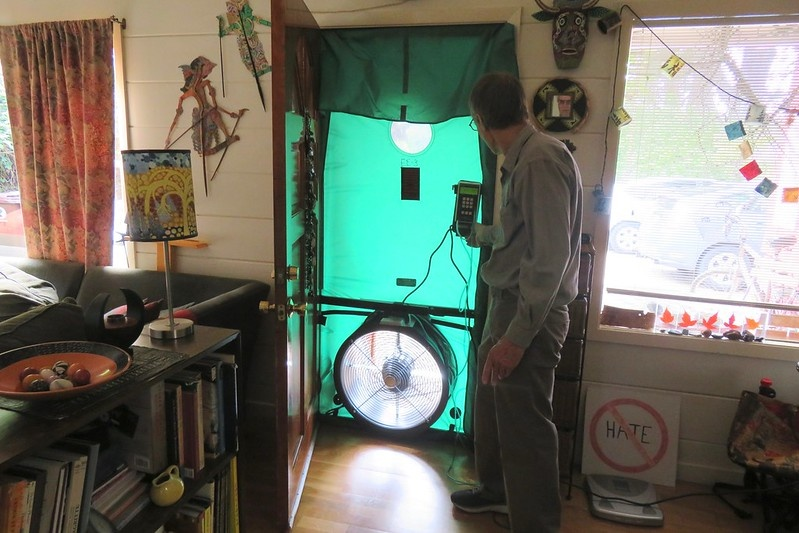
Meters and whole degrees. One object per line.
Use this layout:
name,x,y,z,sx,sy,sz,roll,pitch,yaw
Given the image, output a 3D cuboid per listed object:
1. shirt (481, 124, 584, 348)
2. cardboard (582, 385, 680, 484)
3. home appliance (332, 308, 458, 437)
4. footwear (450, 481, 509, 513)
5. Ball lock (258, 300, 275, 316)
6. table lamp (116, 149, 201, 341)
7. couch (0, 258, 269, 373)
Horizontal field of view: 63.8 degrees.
shirt,0.664,-0.148,3.274,0.485,1.089,0.372,5,1,12
cardboard,1.404,1.025,3.852,0.562,0.569,0.062,3,1,11
home appliance,0.001,0.657,4.000,0.774,0.779,0.301,2,10,13
footwear,0.444,1.318,3.669,0.332,0.131,0.129,5,0,2
Ball lock,-0.686,0.210,3.334,0.075,0.055,0.175,4,1,-14
table lamp,-1.102,-0.108,2.952,0.352,0.738,0.221,4,1,-17
couch,-1.573,0.150,4.096,1.706,0.562,0.610,8,8,17
